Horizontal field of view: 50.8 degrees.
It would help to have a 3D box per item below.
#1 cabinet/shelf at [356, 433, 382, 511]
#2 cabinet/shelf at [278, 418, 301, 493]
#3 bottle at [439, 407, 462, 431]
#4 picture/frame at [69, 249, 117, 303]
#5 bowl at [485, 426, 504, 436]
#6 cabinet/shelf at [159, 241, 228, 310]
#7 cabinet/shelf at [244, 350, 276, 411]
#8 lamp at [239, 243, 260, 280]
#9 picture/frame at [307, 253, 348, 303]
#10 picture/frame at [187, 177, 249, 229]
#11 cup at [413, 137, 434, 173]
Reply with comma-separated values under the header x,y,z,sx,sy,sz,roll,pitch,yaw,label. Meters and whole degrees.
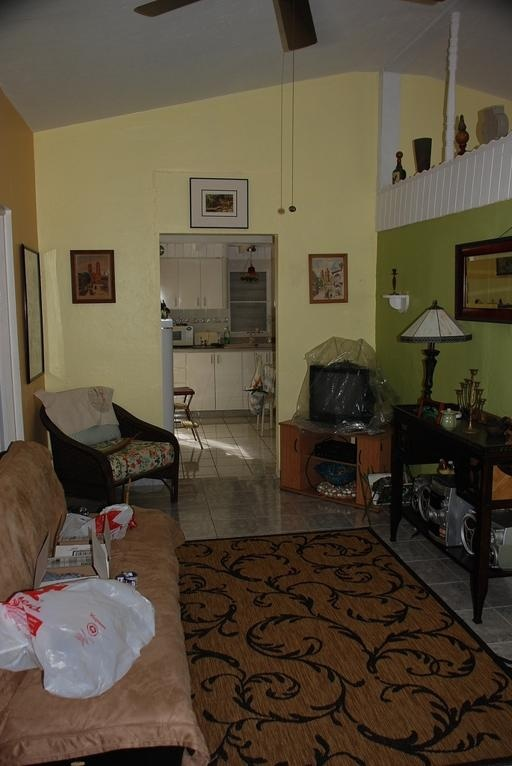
x,y,z,sx,sy,sz,roll,pitch,yaw,label
0.870,0.681,4.098,0.233,0.587,0.152,1,4,12,cabinet/shelf
0.287,0.635,4.563,0.243,0.598,0.084,4,5,42,cabinet/shelf
1.058,0.211,2.923,0.081,0.103,0.145,-1,-1,41,bottle
-1.378,-0.909,4.508,0.430,0.573,0.041,0,11,-9,picture/frame
1.126,0.232,2.559,0.047,0.035,0.048,0,6,0,bowl
-0.886,-1.445,8.657,1.405,1.449,0.853,-1,6,-7,cabinet/shelf
0.056,-0.064,7.469,0.320,0.874,0.843,0,1,-7,cabinet/shelf
-0.108,-1.905,8.614,0.263,0.563,0.121,0,4,-2,lamp
0.629,-0.969,4.869,0.423,0.542,0.024,0,9,-4,picture/frame
-0.346,-1.556,4.611,0.429,0.370,0.015,-2,12,-9,picture/frame
1.250,-1.718,4.080,0.115,0.298,0.242,1,4,15,cup
